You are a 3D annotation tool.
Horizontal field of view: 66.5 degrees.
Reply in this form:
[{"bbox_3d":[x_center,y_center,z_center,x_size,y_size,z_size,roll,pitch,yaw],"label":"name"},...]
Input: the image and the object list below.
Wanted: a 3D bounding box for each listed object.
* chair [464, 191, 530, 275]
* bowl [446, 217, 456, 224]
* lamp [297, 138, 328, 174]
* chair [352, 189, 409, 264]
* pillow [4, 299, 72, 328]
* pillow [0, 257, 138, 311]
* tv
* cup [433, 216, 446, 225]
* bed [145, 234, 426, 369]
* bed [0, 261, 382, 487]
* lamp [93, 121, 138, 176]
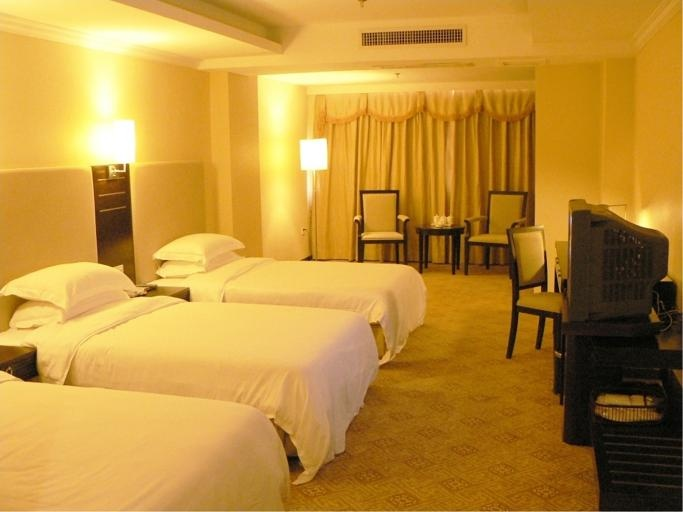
[{"bbox_3d":[2.350,-0.345,7.878,0.801,1.215,0.729,7,16,39],"label":"chair"},{"bbox_3d":[1.705,-0.552,8.164,0.118,0.124,0.113,-1,8,0],"label":"bowl"},{"bbox_3d":[-0.395,-1.601,8.330,0.541,0.571,0.522,2,7,-3],"label":"lamp"},{"bbox_3d":[0.579,-0.419,8.340,0.940,1.219,0.854,-4,11,-15],"label":"chair"},{"bbox_3d":[-2.133,0.418,3.640,0.258,0.079,0.271,15,21,42],"label":"pillow"},{"bbox_3d":[-1.932,0.209,3.817,0.385,0.128,0.491,25,16,15],"label":"pillow"},{"bbox_3d":[1.716,0.036,3.301,0.556,0.631,0.787,1,5,25],"label":"tv"},{"bbox_3d":[1.533,-0.553,8.179,0.137,0.123,0.183,6,14,26],"label":"cup"},{"bbox_3d":[-0.583,0.277,5.307,2.524,0.843,1.586,3,12,15],"label":"bed"},{"bbox_3d":[-0.996,0.599,3.521,2.110,0.785,1.380,2,7,13],"label":"bed"},{"bbox_3d":[-2.057,-0.986,4.681,0.380,0.470,0.220,-10,16,-36],"label":"lamp"}]
